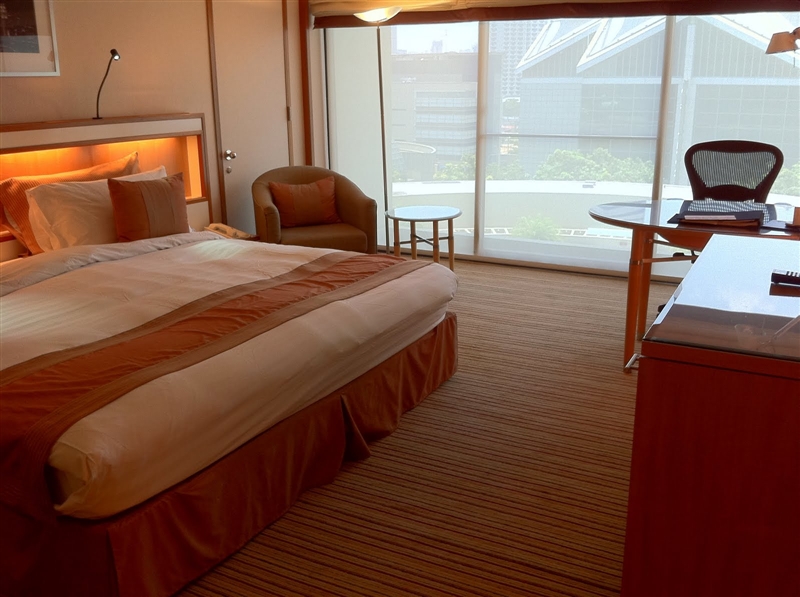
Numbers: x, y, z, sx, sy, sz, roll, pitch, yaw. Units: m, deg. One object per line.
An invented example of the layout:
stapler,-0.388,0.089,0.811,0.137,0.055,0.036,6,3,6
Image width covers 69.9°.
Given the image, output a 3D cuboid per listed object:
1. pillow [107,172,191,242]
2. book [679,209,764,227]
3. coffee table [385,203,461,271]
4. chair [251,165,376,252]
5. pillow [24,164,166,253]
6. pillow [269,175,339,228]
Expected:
pillow,-1.762,-0.637,4.015,0.242,0.411,0.647,13,18,14
book,1.915,-0.490,3.416,0.444,0.056,0.412,10,20,25
coffee table,0.208,-0.697,5.478,0.759,0.662,0.698,-5,21,-6
chair,-0.803,-0.742,5.366,1.073,0.838,0.958,-5,18,-12
pillow,-2.108,-0.575,3.680,0.512,0.461,0.147,-12,4,-43
pillow,-0.847,-1.005,5.531,0.357,0.583,0.899,-5,1,-41
